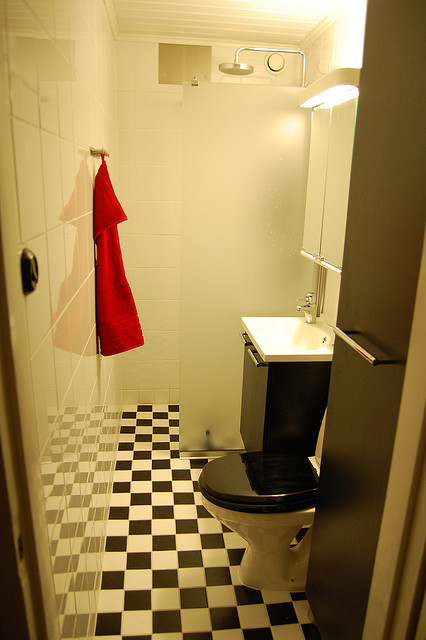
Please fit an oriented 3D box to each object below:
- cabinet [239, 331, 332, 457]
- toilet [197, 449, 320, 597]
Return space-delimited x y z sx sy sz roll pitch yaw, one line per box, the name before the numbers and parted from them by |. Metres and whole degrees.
cabinet | 0.302 0.323 2.119 0.307 0.652 0.561 2 12 0
toilet | 0.158 0.698 1.795 0.398 0.553 0.375 -3 21 1
